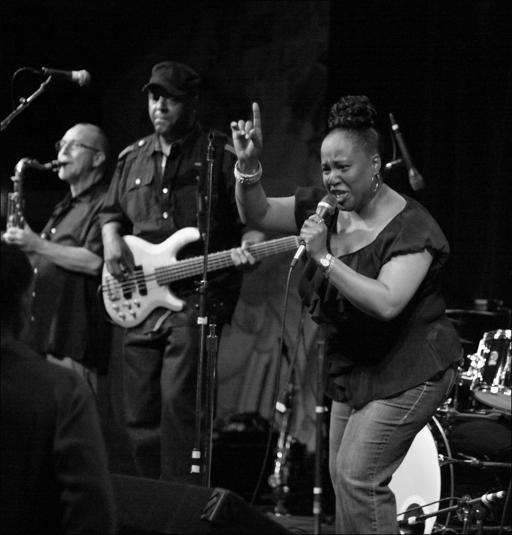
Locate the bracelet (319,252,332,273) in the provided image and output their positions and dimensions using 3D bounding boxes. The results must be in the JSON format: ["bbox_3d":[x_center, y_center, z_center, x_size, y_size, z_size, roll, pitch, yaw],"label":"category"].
[{"bbox_3d":[0.202,-0.009,2.079,0.042,0.059,0.018,7,4,8],"label":"bracelet"}]

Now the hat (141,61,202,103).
[{"bbox_3d":[-0.395,-0.870,3.421,0.162,0.134,0.238,20,7,24],"label":"hat"}]

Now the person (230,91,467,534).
[{"bbox_3d":[0.364,0.171,2.199,0.536,1.392,0.349,7,5,17],"label":"person"}]

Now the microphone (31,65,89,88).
[{"bbox_3d":[-0.973,-0.956,3.547,0.281,0.118,0.101,4,23,-38],"label":"microphone"}]

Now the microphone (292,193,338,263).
[{"bbox_3d":[0.191,-0.128,2.246,0.056,0.234,0.062,27,-15,15],"label":"microphone"}]
